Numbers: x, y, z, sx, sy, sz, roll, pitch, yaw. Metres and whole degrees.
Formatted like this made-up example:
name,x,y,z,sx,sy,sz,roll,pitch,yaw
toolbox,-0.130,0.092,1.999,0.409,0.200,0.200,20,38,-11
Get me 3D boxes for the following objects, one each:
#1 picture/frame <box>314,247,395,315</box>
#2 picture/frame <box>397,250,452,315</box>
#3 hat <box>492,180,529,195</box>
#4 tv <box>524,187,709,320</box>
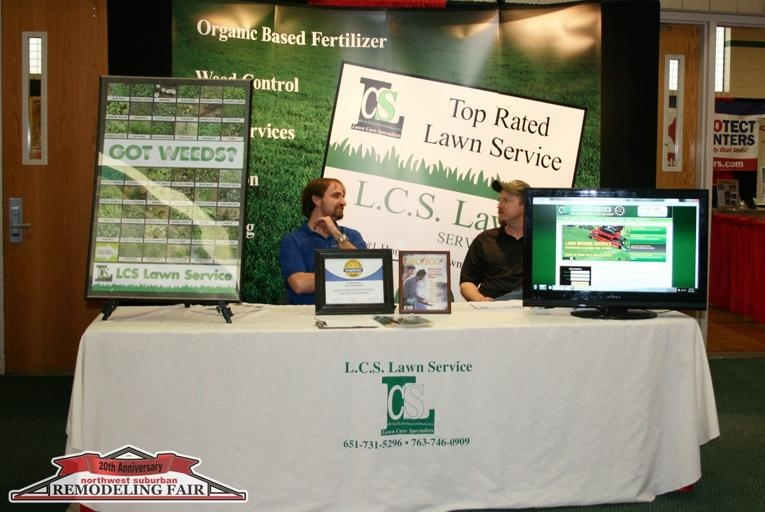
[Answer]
name,x,y,z,sx,sy,sz,roll,pitch,yaw
picture/frame,-0.167,0.151,4.486,0.354,0.327,0.028,-1,3,-1
picture/frame,0.242,0.157,4.508,0.344,0.411,0.019,-1,2,-3
hat,0.882,-0.475,5.327,0.225,0.085,0.140,11,1,-32
tv,1.353,-0.038,4.490,0.704,0.532,0.239,1,-2,3
